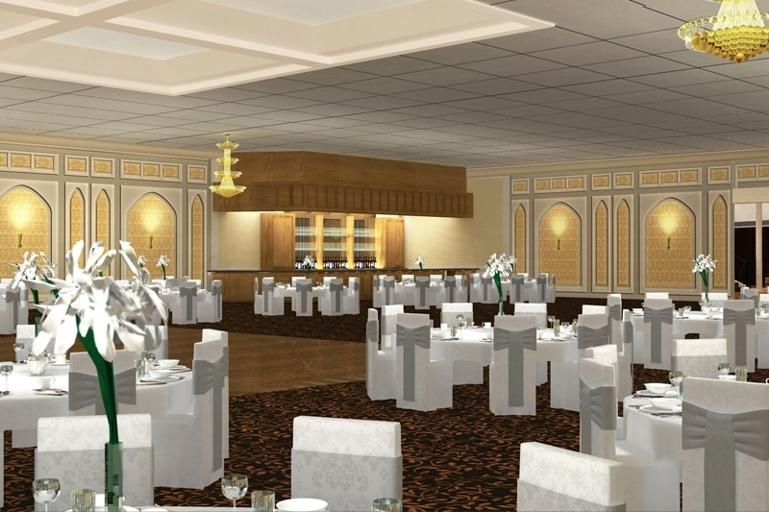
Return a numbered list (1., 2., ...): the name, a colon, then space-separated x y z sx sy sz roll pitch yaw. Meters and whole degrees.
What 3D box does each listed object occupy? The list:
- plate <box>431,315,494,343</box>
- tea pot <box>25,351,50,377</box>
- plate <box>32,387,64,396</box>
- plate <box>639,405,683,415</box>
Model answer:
1. plate: 1.014 1.018 7.024 0.815 0.144 1.009 -1 1 8
2. tea pot: -2.956 0.917 4.469 0.148 0.231 0.445 -2 1 -32
3. plate: -2.508 1.019 3.921 0.167 0.006 0.338 -1 1 -43
4. plate: 1.894 1.057 3.581 0.254 0.027 0.229 0 -5 0
